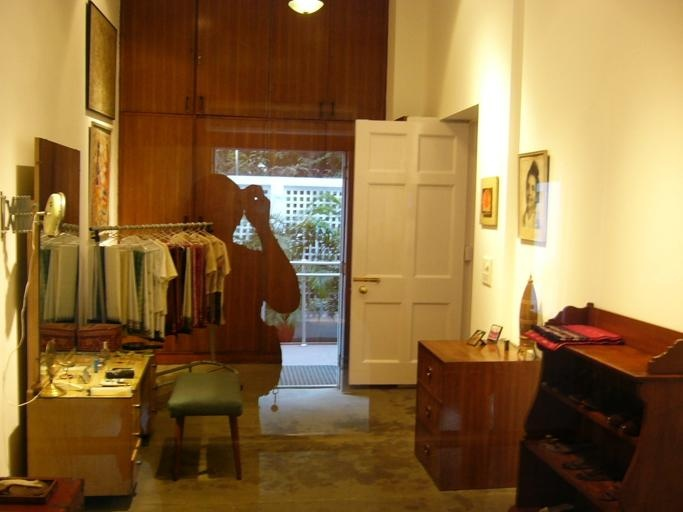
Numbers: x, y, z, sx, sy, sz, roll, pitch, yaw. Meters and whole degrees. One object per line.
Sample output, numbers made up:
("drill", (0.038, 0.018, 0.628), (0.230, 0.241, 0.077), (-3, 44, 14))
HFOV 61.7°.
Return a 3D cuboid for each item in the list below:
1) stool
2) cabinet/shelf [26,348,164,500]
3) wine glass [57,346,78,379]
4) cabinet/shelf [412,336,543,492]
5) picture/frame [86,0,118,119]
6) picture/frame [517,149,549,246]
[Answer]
("stool", (-0.611, 0.775, 2.615), (0.304, 0.399, 0.383), (0, 2, -13))
("cabinet/shelf", (-1.048, 0.696, 2.498), (0.448, 0.442, 0.867), (0, 7, -12))
("wine glass", (-1.165, 0.451, 2.401), (0.062, 0.110, 0.024), (10, -16, -35))
("cabinet/shelf", (0.622, 0.735, 2.714), (0.512, 0.603, 0.496), (0, 4, -30))
("picture/frame", (-1.019, -0.825, 2.406), (0.221, 0.523, 0.076), (3, 5, 35))
("picture/frame", (0.834, -0.252, 2.497), (0.039, 0.404, 0.178), (-1, 4, -18))
